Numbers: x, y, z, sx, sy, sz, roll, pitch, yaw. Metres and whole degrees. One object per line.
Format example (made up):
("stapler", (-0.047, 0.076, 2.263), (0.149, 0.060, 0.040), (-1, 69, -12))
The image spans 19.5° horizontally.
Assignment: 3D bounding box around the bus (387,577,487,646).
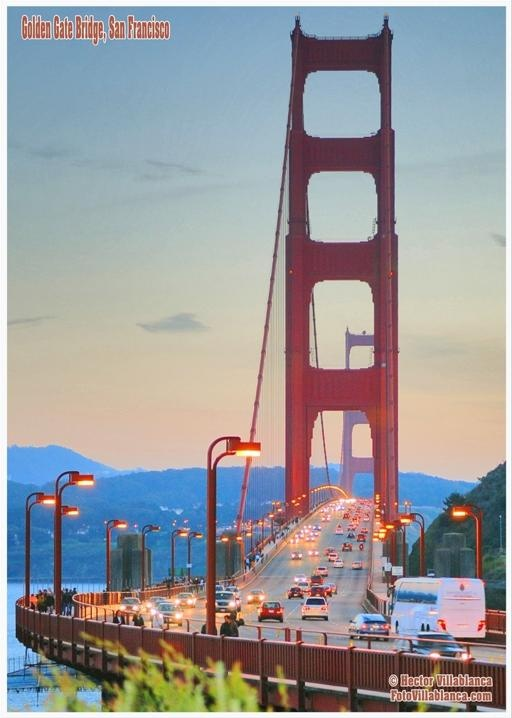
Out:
("bus", (4.703, 6.740, 40.053), (1.262, 1.881, 3.847), (4, -8, -17))
